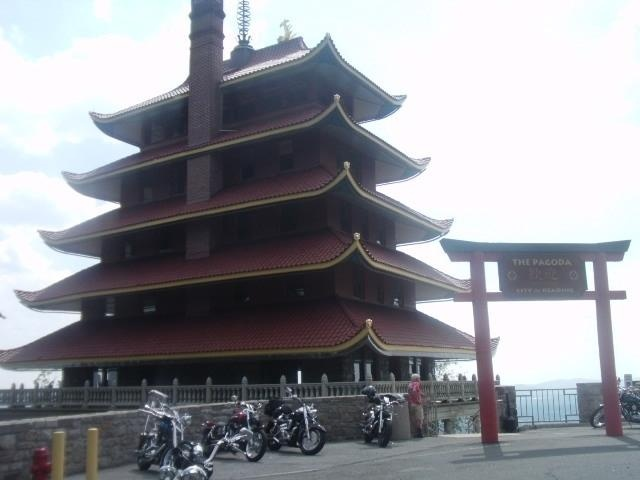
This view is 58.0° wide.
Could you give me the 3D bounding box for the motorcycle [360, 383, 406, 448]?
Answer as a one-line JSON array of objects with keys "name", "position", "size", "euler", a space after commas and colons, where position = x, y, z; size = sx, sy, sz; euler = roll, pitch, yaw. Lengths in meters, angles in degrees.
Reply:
[{"name": "motorcycle", "position": [2.193, 6.631, 21.862], "size": [0.756, 2.242, 1.678], "euler": [3, -19, -13]}]
